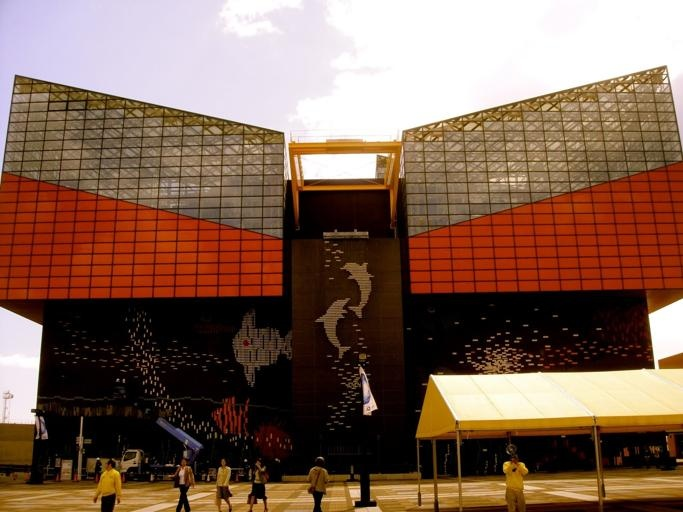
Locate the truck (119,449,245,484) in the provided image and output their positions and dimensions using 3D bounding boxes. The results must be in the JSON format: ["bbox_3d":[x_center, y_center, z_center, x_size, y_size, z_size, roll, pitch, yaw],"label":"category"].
[{"bbox_3d":[-16.797,19.606,62.605,9.967,3.107,3.107,2,-27,-1],"label":"truck"}]
